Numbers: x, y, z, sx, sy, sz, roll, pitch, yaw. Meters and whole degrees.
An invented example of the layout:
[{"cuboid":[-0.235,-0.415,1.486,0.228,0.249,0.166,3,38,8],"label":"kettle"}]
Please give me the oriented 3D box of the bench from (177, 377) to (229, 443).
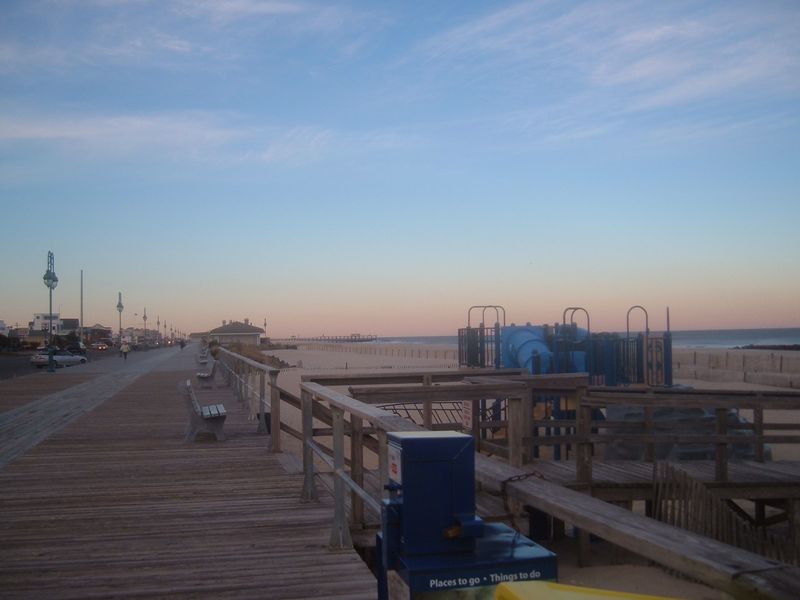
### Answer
[{"cuboid":[-3.537,2.021,13.142,0.742,0.807,1.228,-1,2,-16],"label":"bench"}]
